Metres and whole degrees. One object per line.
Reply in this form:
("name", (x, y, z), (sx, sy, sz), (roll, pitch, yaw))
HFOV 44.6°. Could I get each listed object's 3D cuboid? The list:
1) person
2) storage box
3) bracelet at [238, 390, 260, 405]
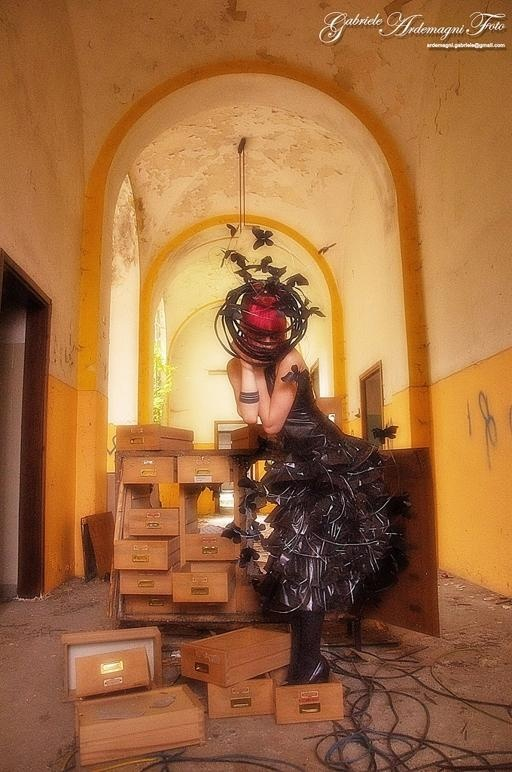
("person", (0.208, 0.384, 2.477), (0.781, 1.572, 0.715), (1, -3, 24))
("storage box", (-0.306, 0.840, 2.617), (0.728, 0.589, 1.317), (-1, 9, -1))
("bracelet", (-0.027, 0.042, 2.274), (0.050, 0.033, 0.051), (-1, 2, 12))
